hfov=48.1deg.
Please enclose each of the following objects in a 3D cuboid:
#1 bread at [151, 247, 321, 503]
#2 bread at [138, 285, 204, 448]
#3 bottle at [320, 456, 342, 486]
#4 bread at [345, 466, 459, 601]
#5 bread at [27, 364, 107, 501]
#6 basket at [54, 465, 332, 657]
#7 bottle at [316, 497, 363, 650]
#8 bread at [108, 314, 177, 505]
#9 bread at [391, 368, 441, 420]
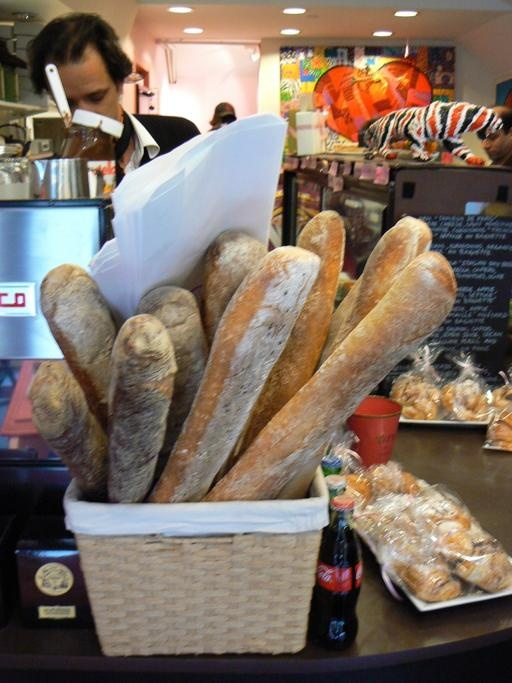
[{"bbox_3d":[-0.022,0.037,0.460,0.134,0.226,0.033,2,20,5],"label":"bread"},{"bbox_3d":[-0.067,0.015,0.470,0.059,0.112,0.039,3,18,2],"label":"bread"},{"bbox_3d":[0.090,0.150,0.675,0.031,0.030,0.029,0,9,8],"label":"bottle"},{"bbox_3d":[0.176,0.233,0.722,0.088,0.030,0.156,-8,36,-18],"label":"bread"},{"bbox_3d":[-0.154,0.085,0.485,0.052,0.130,0.054,-3,20,-10],"label":"bread"},{"bbox_3d":[-0.063,0.198,0.563,0.214,0.129,0.160,0,2,-5],"label":"basket"},{"bbox_3d":[0.082,0.236,0.586,0.052,0.143,0.049,5,3,0],"label":"bottle"},{"bbox_3d":[-0.094,0.062,0.463,0.056,0.179,0.080,-5,20,-15],"label":"bread"},{"bbox_3d":[0.338,0.117,1.172,0.106,0.041,0.108,-4,56,5],"label":"bread"}]
